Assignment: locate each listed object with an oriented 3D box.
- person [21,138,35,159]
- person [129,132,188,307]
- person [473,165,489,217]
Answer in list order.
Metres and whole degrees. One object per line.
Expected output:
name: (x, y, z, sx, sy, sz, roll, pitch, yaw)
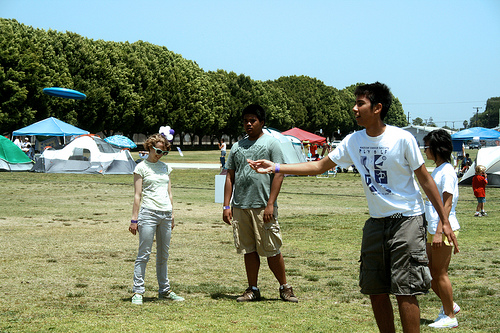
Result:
person: (-12.825, -1.044, 31.524, 0.674, 1.066, 2.828, 0, 1, -21)
person: (-1.382, 0.738, 7.987, 0.707, 2.455, 0.534, 0, 0, -13)
person: (6.819, 0.663, 16.100, 0.419, 1.427, 2.972, 1, 1, 23)
